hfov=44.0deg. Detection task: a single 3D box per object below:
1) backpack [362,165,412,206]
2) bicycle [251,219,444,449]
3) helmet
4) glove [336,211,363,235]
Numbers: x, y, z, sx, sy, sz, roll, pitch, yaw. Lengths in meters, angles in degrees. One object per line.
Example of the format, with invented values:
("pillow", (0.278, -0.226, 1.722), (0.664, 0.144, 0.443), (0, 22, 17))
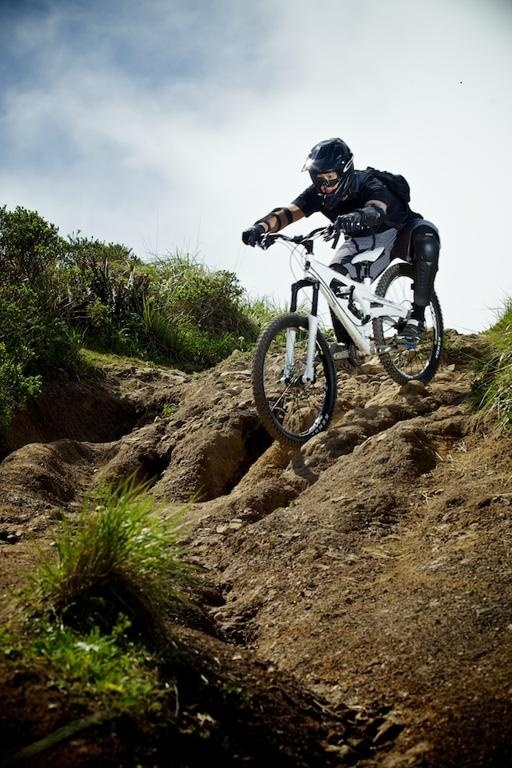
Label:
("backpack", (1.113, -1.665, 5.288), (0.344, 0.315, 0.226), (-1, -2, -2))
("bicycle", (0.740, -0.403, 5.474), (1.063, 1.483, 2.458), (-5, 13, 42))
("helmet", (0.615, -1.753, 5.236), (0.413, 0.541, 0.536), (4, 27, 25))
("glove", (0.707, -1.248, 4.870), (0.173, 0.160, 0.199), (0, -2, -38))
